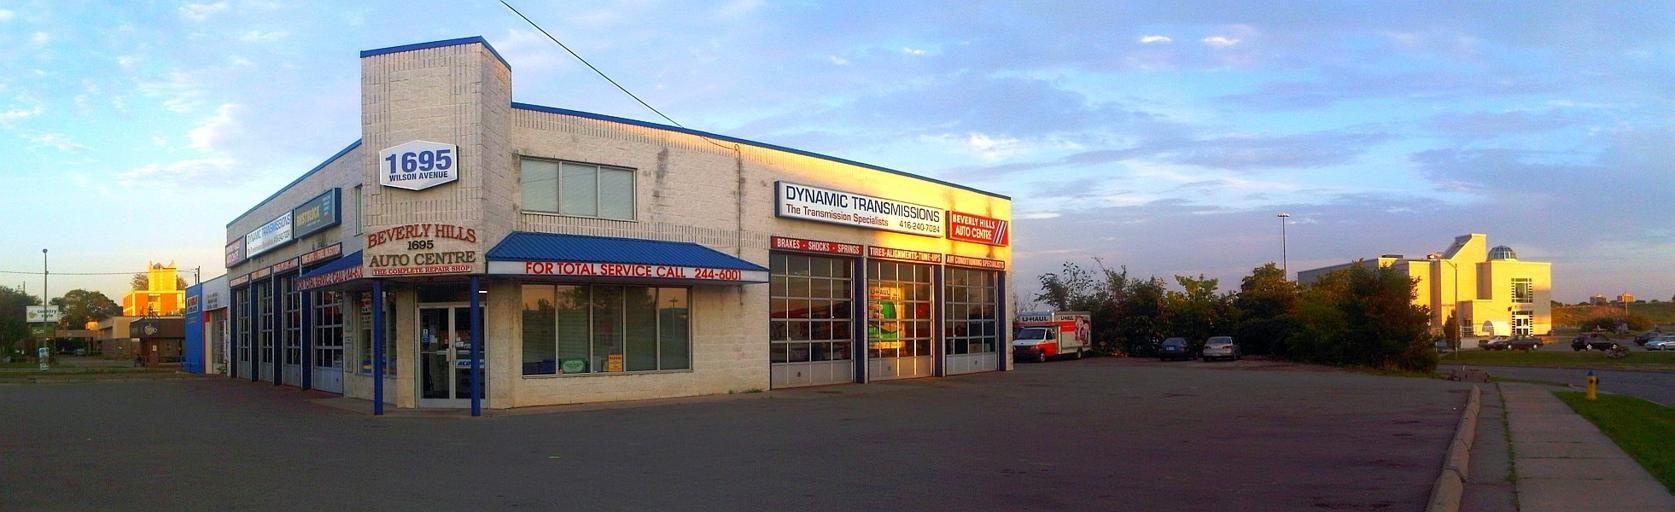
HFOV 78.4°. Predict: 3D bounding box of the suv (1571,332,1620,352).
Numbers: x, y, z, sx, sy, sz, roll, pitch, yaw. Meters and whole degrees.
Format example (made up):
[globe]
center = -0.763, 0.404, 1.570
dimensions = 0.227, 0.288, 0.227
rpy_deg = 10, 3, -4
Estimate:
[suv]
center = 121.971, 13.827, 163.433
dimensions = 9.128, 2.088, 4.008
rpy_deg = -1, 0, -21
